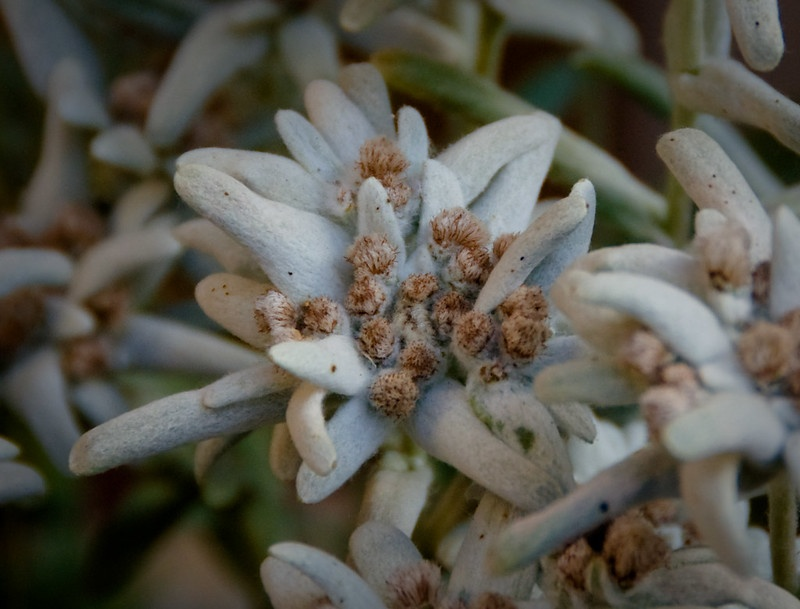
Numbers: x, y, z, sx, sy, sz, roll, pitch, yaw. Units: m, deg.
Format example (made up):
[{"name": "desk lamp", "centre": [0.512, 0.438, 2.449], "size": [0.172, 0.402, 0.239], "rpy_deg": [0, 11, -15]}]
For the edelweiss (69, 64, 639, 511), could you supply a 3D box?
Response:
[{"name": "edelweiss", "centre": [-0.019, -0.003, 1.447], "size": [0.507, 0.236, 0.520], "rpy_deg": [18, 73, -1]}]
